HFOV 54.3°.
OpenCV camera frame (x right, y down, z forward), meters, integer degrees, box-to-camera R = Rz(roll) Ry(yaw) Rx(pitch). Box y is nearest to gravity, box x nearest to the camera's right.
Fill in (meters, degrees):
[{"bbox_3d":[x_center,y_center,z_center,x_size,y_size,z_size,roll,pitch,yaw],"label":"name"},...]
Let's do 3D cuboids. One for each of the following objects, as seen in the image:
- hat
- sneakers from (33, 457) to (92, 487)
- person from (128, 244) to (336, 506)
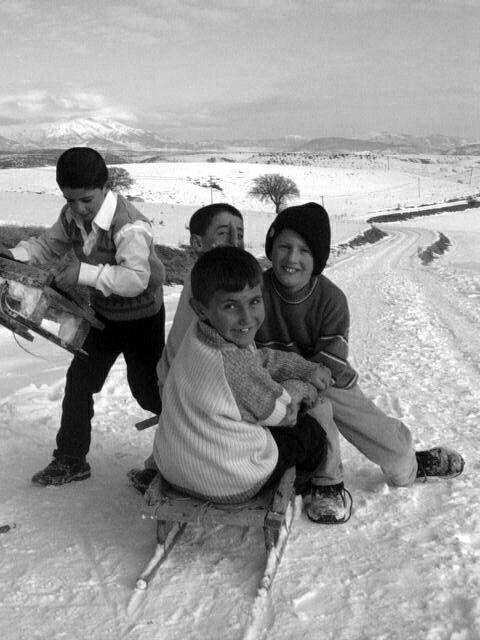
[{"bbox_3d":[0.338,-0.544,2.892,0.300,0.414,0.445,10,27,-1],"label":"hat"},{"bbox_3d":[-1.163,0.995,3.089,0.361,0.210,0.144,4,3,-25],"label":"sneakers"},{"bbox_3d":[0.055,0.267,2.227,0.734,1.114,0.621,-1,8,-10],"label":"person"}]
